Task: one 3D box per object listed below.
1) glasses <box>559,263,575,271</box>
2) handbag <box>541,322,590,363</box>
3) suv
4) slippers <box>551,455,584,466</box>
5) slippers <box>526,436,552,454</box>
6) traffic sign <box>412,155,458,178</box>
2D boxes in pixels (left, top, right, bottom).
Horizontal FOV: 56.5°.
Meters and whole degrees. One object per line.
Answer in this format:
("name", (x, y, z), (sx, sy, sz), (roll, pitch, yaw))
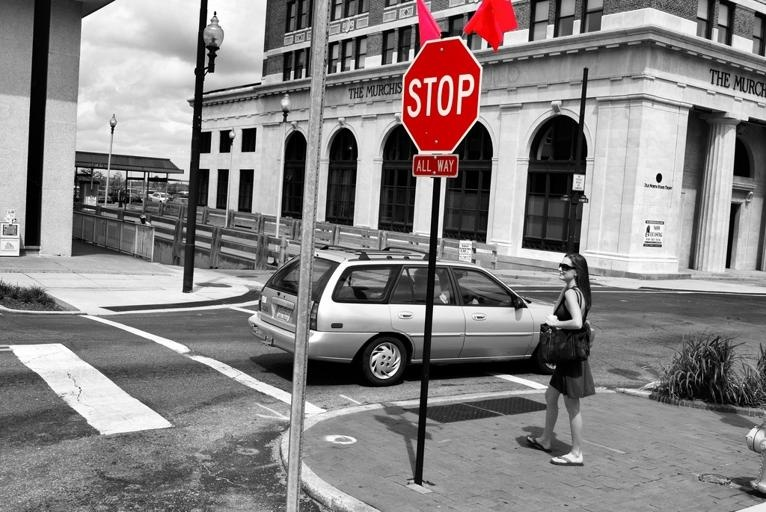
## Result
("glasses", (2.546, 0.165, 9.882), (0.141, 0.050, 0.121), (6, 2, -12))
("handbag", (2.487, 1.108, 9.950), (0.620, 0.788, 0.426), (-4, -11, 31))
("suv", (0.485, 1.158, 13.459), (5.536, 2.055, 2.595), (-1, 7, -25))
("slippers", (2.519, 2.776, 9.758), (0.324, 0.127, 0.193), (2, -5, -3))
("slippers", (2.215, 2.687, 10.219), (0.160, 0.247, 0.350), (1, 15, -32))
("traffic sign", (0.662, -1.132, 9.100), (0.555, 0.308, 0.815), (3, 3, 3))
